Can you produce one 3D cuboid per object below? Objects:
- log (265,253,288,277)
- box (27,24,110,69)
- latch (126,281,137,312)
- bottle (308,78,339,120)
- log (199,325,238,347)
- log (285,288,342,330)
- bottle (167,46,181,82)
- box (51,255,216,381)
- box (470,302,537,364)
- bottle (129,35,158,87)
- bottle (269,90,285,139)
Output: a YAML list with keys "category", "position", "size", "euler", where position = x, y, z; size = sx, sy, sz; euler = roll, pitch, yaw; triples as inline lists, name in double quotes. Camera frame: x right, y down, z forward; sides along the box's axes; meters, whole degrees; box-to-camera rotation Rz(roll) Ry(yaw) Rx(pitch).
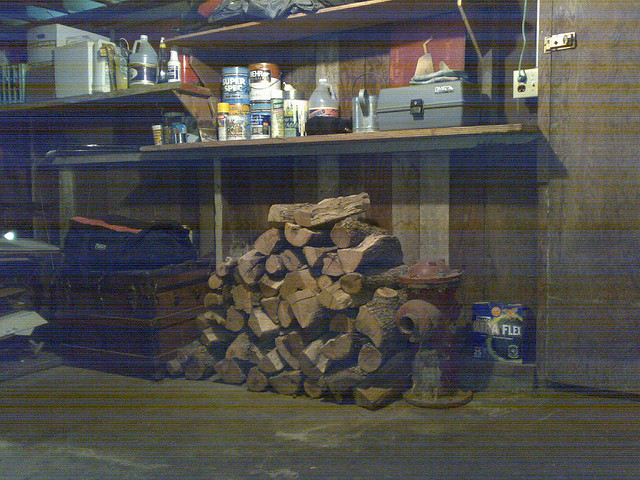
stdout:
- category: "log"
  position: [-0.192, 0.110, 2.795]
  size: [0.142, 0.081, 0.031]
  euler: [9, 1, 31]
- category: "box"
  position: [-1.242, -1.019, 3.322]
  size: [0.534, 0.156, 0.279]
  euler: [9, 20, 41]
- category: "latch"
  position: [-0.879, 0.260, 2.995]
  size: [0.056, 0.131, 0.012]
  euler: [-1, 4, 29]
- category: "bottle"
  position: [0.010, -0.630, 2.861]
  size: [0.137, 0.189, 0.089]
  euler: [-3, 3, -1]
- category: "log"
  position: [-0.463, 0.432, 2.894]
  size: [0.190, 0.035, 0.105]
  euler: [-2, 4, -18]
- category: "log"
  position: [-0.017, 0.291, 2.787]
  size: [0.276, 0.166, 0.060]
  euler: [-17, -2, 11]
- category: "bottle"
  position: [-0.709, -0.848, 3.101]
  size: [0.065, 0.196, 0.134]
  euler: [-4, 3, -10]
- category: "box"
  position: [-0.975, 0.363, 3.120]
  size: [0.869, 0.525, 0.358]
  euler: [-1, 3, 21]
- category: "box"
  position: [0.861, 0.399, 2.831]
  size: [0.193, 0.244, 0.382]
  euler: [5, -6, -19]
- category: "bottle"
  position: [-0.872, -0.881, 3.149]
  size: [0.138, 0.283, 0.135]
  euler: [-3, 3, 0]
- category: "bottle"
  position: [-0.193, -0.563, 2.860]
  size: [0.074, 0.242, 0.158]
  euler: [-3, 3, -3]
